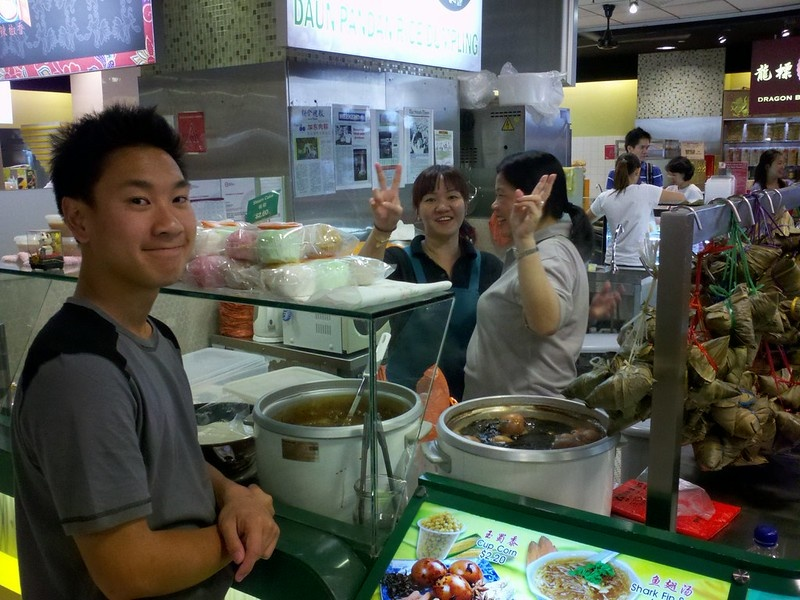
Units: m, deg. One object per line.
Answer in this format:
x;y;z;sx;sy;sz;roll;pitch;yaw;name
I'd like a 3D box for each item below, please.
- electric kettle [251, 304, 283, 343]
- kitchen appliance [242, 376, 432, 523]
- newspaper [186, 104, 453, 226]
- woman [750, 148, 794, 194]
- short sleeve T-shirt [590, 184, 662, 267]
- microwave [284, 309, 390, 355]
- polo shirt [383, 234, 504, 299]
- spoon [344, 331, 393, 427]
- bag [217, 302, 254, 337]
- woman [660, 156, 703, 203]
-0.367;0.061;1.566;0.095;0.153;0.150;0;10;-11;electric kettle
-0.182;0.460;1.549;0.441;0.362;0.452;7;-28;-12;kitchen appliance
-0.535;-0.807;3.256;1.167;0.593;0.594;-5;8;-36;newspaper
4.783;-1.615;7.217;0.646;0.663;0.357;-6;7;-27;woman
2.506;-0.864;6.201;0.832;0.857;0.401;8;15;43;short sleeve T-shirt
-0.164;0.075;1.457;0.132;0.113;0.186;3;-4;19;microwave
0.228;-0.171;2.861;0.566;0.544;0.318;0;-3;-3;polo shirt
-0.069;0.183;1.305;0.028;0.260;0.013;32;25;29;spoon
-0.519;0.060;1.776;0.107;0.111;0.108;0;9;-25;bag
4.125;-1.745;8.155;0.401;0.716;0.710;-9;15;-13;woman
